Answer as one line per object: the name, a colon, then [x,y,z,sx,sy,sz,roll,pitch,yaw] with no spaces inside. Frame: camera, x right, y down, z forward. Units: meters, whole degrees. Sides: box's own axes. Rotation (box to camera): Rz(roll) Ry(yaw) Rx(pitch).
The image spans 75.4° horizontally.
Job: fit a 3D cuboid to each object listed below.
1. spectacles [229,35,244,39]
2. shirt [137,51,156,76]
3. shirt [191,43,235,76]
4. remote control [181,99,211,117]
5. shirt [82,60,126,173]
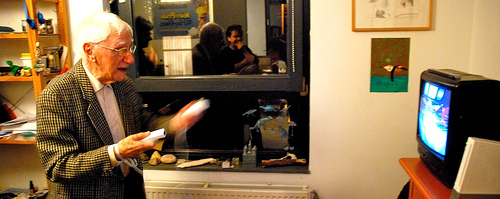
spectacles: [-0.157,-0.864,4.472,0.140,0.047,0.023,-1,10,-6]
shirt: [-1.455,-0.504,4.543,0.226,0.342,0.053,1,11,7]
shirt: [-0.537,-0.517,4.382,0.650,0.414,0.129,0,-3,-2]
remote control: [-0.660,0.097,3.912,0.291,0.057,0.165,-25,-30,-1]
shirt: [-1.668,0.184,3.756,0.426,1.241,0.163,2,11,13]
